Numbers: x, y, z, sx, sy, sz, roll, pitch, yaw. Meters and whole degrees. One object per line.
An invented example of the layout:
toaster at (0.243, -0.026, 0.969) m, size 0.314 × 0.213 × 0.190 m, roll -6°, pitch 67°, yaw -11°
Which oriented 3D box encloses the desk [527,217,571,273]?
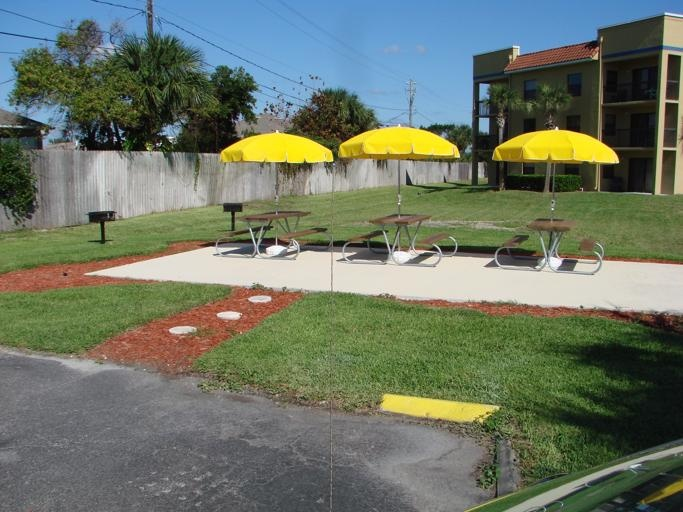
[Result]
desk at (4.996, -0.212, 12.961) m, size 0.775 × 0.904 × 1.437 m, roll 1°, pitch 8°, yaw 22°

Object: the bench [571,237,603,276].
bench at (5.468, 0.033, 11.974) m, size 0.621 × 0.483 × 0.904 m, roll 12°, pitch 17°, yaw 20°

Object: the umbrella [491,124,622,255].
umbrella at (4.660, -1.555, 12.489) m, size 2.757 × 2.288 × 2.819 m, roll 1°, pitch 9°, yaw 15°

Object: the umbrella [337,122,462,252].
umbrella at (1.280, -1.655, 13.374) m, size 3.039 × 2.998 × 3.013 m, roll 4°, pitch 10°, yaw 28°
